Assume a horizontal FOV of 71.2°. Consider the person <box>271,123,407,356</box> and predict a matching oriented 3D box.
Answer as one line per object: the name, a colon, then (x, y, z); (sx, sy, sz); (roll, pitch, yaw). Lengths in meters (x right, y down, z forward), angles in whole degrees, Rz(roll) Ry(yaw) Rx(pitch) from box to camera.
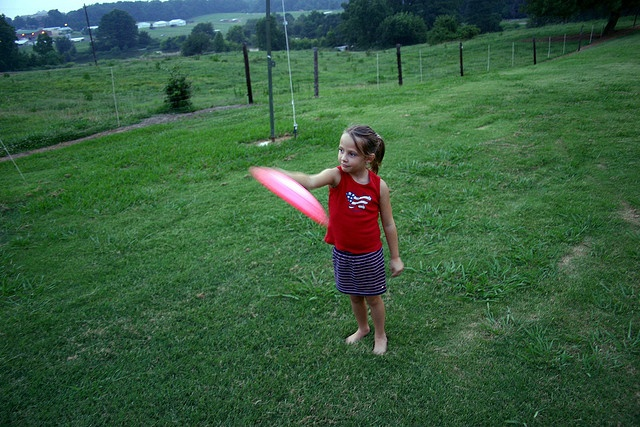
person: (0.443, 0.355, 5.319); (1.002, 2.680, 0.810); (-6, 23, -1)
